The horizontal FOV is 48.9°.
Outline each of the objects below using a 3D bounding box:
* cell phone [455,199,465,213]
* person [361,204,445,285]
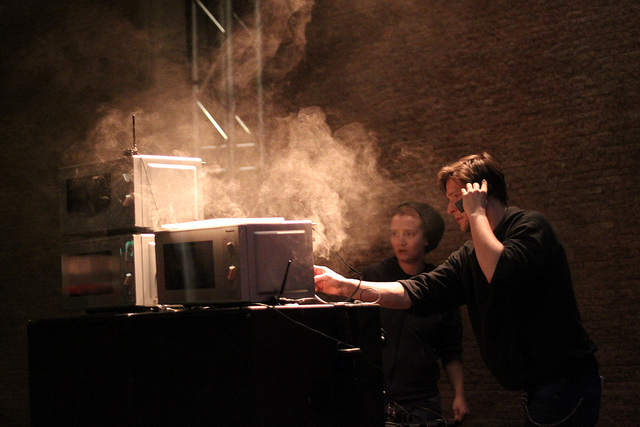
[{"bbox_3d":[0.949,-0.044,4.758,0.018,0.066,0.059,-12,60,-10],"label":"cell phone"},{"bbox_3d":[0.788,0.296,6.150,0.846,0.774,0.465,0,-1,28],"label":"person"}]
